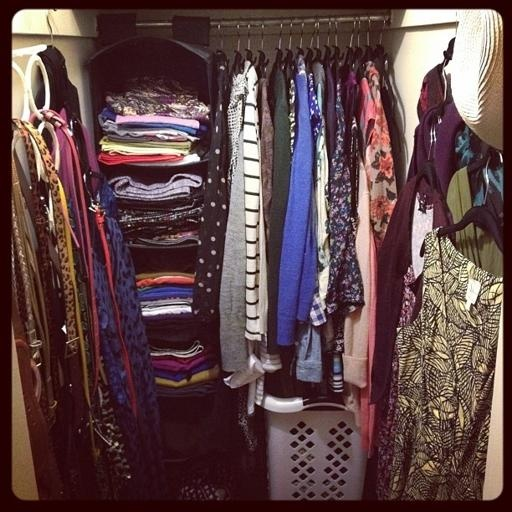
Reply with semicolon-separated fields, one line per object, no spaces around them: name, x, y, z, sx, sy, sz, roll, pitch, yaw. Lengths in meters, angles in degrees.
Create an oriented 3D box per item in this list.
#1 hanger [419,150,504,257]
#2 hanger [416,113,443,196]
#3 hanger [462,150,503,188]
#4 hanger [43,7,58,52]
hanger;0.449;-0.113;1.124;0.010;0.161;0.202;-4;9;-23
hanger;0.403;-0.253;1.249;0.045;0.164;0.109;8;17;29
hanger;0.487;-0.183;1.095;0.024;0.089;0.056;-19;16;-39
hanger;-0.506;-0.567;1.290;0.026;0.104;0.120;-4;14;-19
